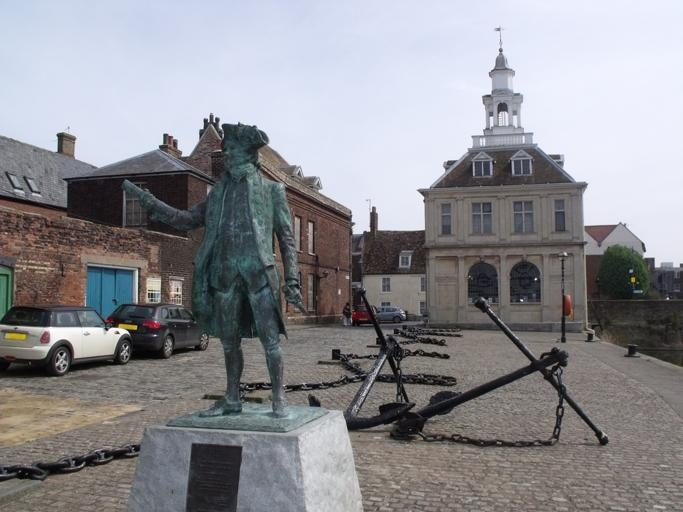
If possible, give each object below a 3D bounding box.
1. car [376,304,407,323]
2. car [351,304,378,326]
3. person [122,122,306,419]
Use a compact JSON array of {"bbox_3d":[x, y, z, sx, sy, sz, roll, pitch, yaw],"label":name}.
[{"bbox_3d":[3.912,4.612,48.404,2.090,1.216,2.912,0,-7,0],"label":"car"},{"bbox_3d":[1.267,3.833,39.975,1.137,1.368,2.765,0,-7,1],"label":"car"},{"bbox_3d":[-0.914,0.112,5.905,1.016,2.755,0.396,-1,-6,8],"label":"person"}]
